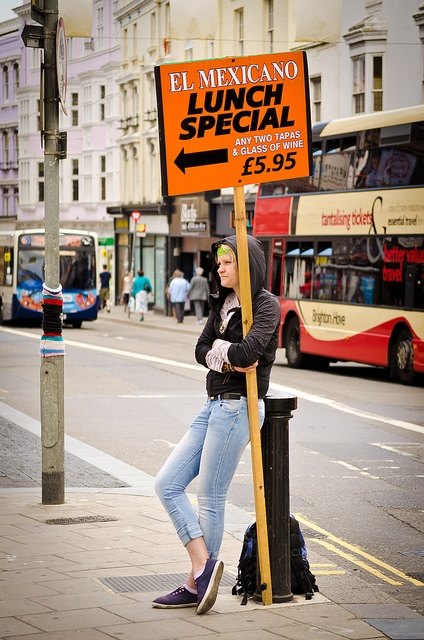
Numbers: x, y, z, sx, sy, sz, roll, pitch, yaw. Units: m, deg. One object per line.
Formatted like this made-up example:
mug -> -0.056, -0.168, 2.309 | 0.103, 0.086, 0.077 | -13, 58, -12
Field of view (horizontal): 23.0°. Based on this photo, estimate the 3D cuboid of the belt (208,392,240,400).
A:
belt -> 0.051, 0.335, 4.519 | 0.056, 0.035, 0.174 | 4, -2, -43

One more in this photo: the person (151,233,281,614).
person -> 0.053, 0.437, 4.570 | 0.479, 1.494, 0.430 | 2, -1, 42

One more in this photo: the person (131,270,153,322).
person -> -2.525, -0.873, 36.977 | 0.628, 1.738, 2.594 | 2, -1, -4

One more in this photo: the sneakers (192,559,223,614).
sneakers -> -0.016, 1.108, 4.336 | 0.096, 0.265, 0.091 | 11, 26, 9

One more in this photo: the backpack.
backpack -> 0.266, 1.079, 4.828 | 0.380, 0.485, 0.315 | 2, -11, -11

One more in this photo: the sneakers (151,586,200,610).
sneakers -> -0.158, 1.201, 4.515 | 0.209, 0.110, 0.084 | 2, -2, -9
